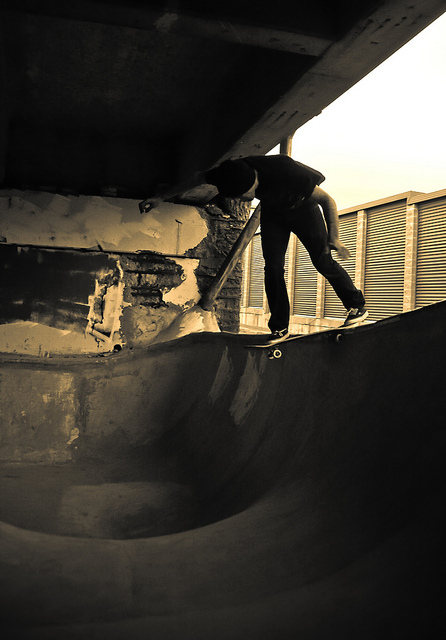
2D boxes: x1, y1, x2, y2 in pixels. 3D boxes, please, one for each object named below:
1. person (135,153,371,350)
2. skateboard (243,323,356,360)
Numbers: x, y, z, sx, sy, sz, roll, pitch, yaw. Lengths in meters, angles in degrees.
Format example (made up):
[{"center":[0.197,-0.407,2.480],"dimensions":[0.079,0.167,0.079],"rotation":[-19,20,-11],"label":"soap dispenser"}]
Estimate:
[{"center":[0.165,-0.420,3.504],"dimensions":[1.231,1.046,0.784],"rotation":[-6,16,11],"label":"person"},{"center":[0.550,0.134,4.204],"dimensions":[0.785,0.104,0.183],"rotation":[-17,-16,6],"label":"skateboard"}]
